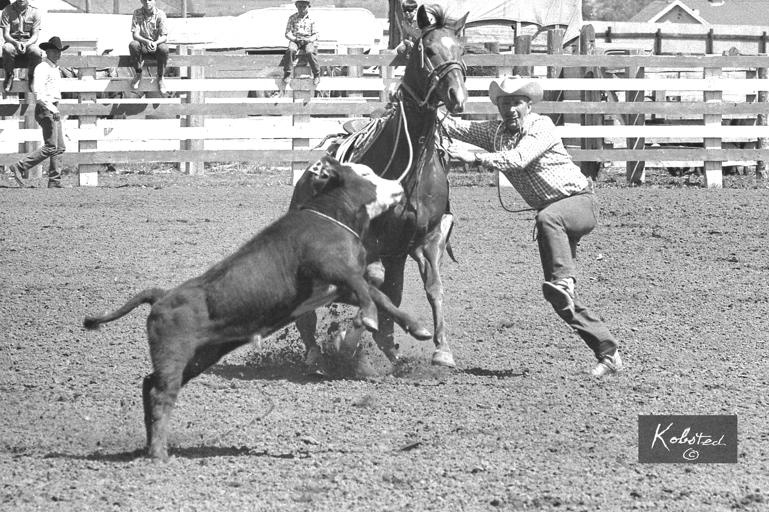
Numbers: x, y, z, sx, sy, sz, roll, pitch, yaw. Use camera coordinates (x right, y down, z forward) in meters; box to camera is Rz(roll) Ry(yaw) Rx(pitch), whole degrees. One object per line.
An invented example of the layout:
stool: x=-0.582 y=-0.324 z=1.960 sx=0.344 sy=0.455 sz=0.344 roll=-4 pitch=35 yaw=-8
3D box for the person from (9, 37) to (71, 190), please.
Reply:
person: x=-5.614 y=-2.315 z=21.095 sx=0.844 sy=2.424 sz=1.115 roll=-2 pitch=8 yaw=-14

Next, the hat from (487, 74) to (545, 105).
hat: x=1.423 y=-1.809 z=14.280 sx=0.568 sy=0.294 sz=0.332 roll=1 pitch=8 yaw=4

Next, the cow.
cow: x=-1.174 y=0.509 z=12.900 sx=2.683 sy=2.883 sz=0.968 roll=-1 pitch=8 yaw=-11

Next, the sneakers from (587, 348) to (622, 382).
sneakers: x=2.423 y=1.204 z=14.469 sx=0.502 sy=0.218 sz=0.184 roll=-25 pitch=18 yaw=-19

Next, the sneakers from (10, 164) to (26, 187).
sneakers: x=-6.112 y=-1.329 z=21.585 sx=0.141 sy=0.335 sz=0.120 roll=-15 pitch=13 yaw=1
